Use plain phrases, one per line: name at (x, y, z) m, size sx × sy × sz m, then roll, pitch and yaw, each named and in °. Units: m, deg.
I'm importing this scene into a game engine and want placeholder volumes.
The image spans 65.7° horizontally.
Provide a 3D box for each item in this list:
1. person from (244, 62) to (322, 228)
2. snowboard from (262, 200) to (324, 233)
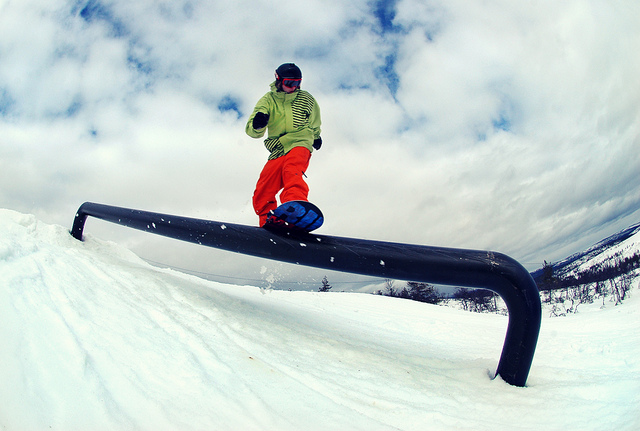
person at (-0.492, -0.916, 6.389) m, size 0.932 × 1.883 × 1.324 m, roll 5°, pitch -16°, yaw -1°
snowboard at (-0.286, 0.000, 5.609) m, size 0.612 × 0.305 × 0.487 m, roll 6°, pitch -17°, yaw -5°
